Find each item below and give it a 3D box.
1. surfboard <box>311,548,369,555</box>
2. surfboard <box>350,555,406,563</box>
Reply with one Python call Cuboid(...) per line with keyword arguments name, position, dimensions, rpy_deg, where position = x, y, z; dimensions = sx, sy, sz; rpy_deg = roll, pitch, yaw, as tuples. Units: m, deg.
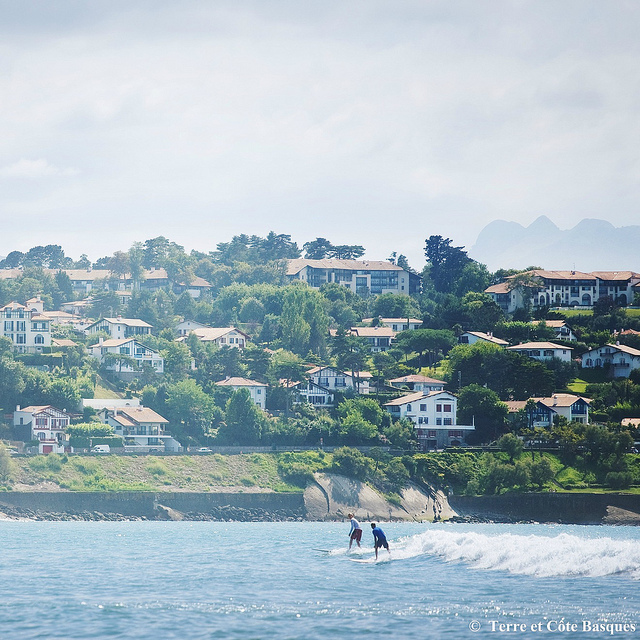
Cuboid(name="surfboard", position=(1.597, 17.374, 169.823), dimensions=(0.572, 0.355, 3.144), rpy_deg=(0, -2, -40))
Cuboid(name="surfboard", position=(4.316, 17.480, 164.944), dimensions=(3.646, 0.426, 1.607), rpy_deg=(2, 4, -12))
